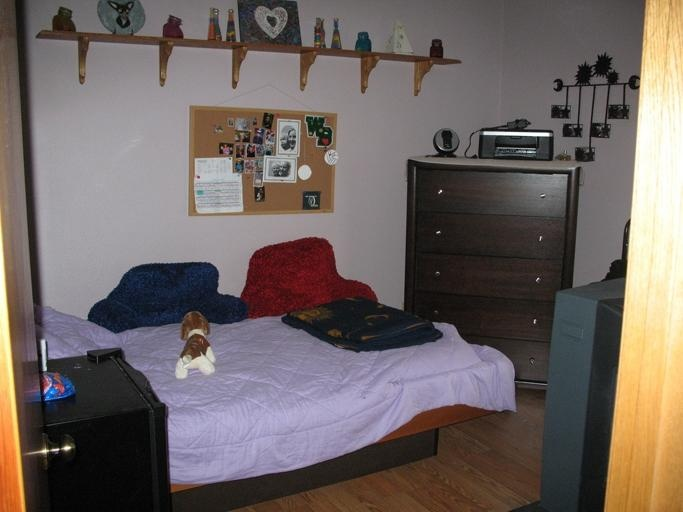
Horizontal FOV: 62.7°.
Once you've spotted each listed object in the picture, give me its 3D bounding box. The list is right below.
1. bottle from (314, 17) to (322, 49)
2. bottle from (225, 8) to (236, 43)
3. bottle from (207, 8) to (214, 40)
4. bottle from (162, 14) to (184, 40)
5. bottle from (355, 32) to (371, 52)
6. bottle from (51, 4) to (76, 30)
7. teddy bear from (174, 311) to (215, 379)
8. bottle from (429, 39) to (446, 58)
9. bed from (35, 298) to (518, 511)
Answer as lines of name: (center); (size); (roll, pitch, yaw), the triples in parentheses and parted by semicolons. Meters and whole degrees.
bottle: (-0.140, -1.406, 3.519); (0.043, 0.178, 0.073); (2, 11, 3)
bottle: (-0.650, -1.377, 3.328); (0.062, 0.214, 0.204); (0, 12, -10)
bottle: (-0.741, -1.341, 3.223); (0.037, 0.176, 0.057); (-1, 12, -13)
bottle: (-0.950, -1.296, 3.166); (0.105, 0.151, 0.193); (-2, 12, -18)
bottle: (0.143, -1.418, 3.681); (0.096, 0.161, 0.231); (2, 11, 0)
bottle: (-1.440, -1.238, 2.922); (0.112, 0.133, 0.100); (0, 12, -10)
teddy bear: (-0.682, 0.417, 2.644); (0.137, 0.150, 0.361); (-3, 21, -9)
bottle: (0.660, -1.445, 3.890); (0.094, 0.148, 0.138); (3, 12, 8)
bed: (-0.002, 0.569, 2.613); (1.639, 0.519, 0.982); (-5, 9, -34)
